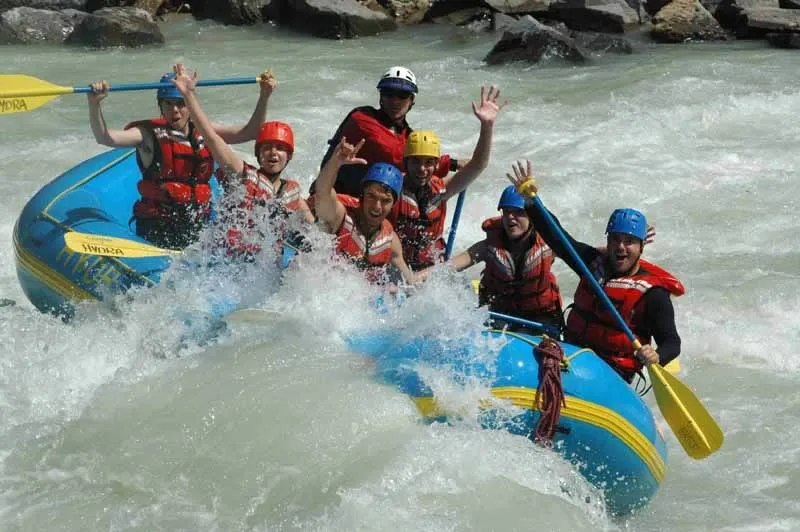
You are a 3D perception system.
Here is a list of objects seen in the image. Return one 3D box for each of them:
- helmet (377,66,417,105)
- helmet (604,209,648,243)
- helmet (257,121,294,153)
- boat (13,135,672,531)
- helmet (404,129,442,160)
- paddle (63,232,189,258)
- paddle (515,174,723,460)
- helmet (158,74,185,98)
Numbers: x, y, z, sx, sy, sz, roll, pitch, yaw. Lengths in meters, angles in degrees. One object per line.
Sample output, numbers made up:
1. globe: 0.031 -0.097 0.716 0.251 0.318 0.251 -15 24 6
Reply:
1. helmet: -0.012 -1.868 8.398 0.300 0.280 0.380 10 14 -2
2. helmet: 2.096 -0.396 7.510 0.290 0.327 0.360 7 -2 15
3. helmet: -1.181 -1.252 7.900 0.256 0.351 0.258 5 42 -3
4. boat: -0.678 0.400 7.598 5.528 1.132 2.999 26 16 13
5. helmet: 0.234 -1.206 8.130 0.243 0.244 0.327 2 -8 2
6. paddle: -2.719 -0.213 7.998 0.795 0.038 0.185 9 36 -10
7. paddle: 1.939 0.348 7.478 0.401 0.214 3.070 -19 66 -33
8. helmet: -2.237 -1.782 8.055 0.259 0.276 0.351 3 28 -11
